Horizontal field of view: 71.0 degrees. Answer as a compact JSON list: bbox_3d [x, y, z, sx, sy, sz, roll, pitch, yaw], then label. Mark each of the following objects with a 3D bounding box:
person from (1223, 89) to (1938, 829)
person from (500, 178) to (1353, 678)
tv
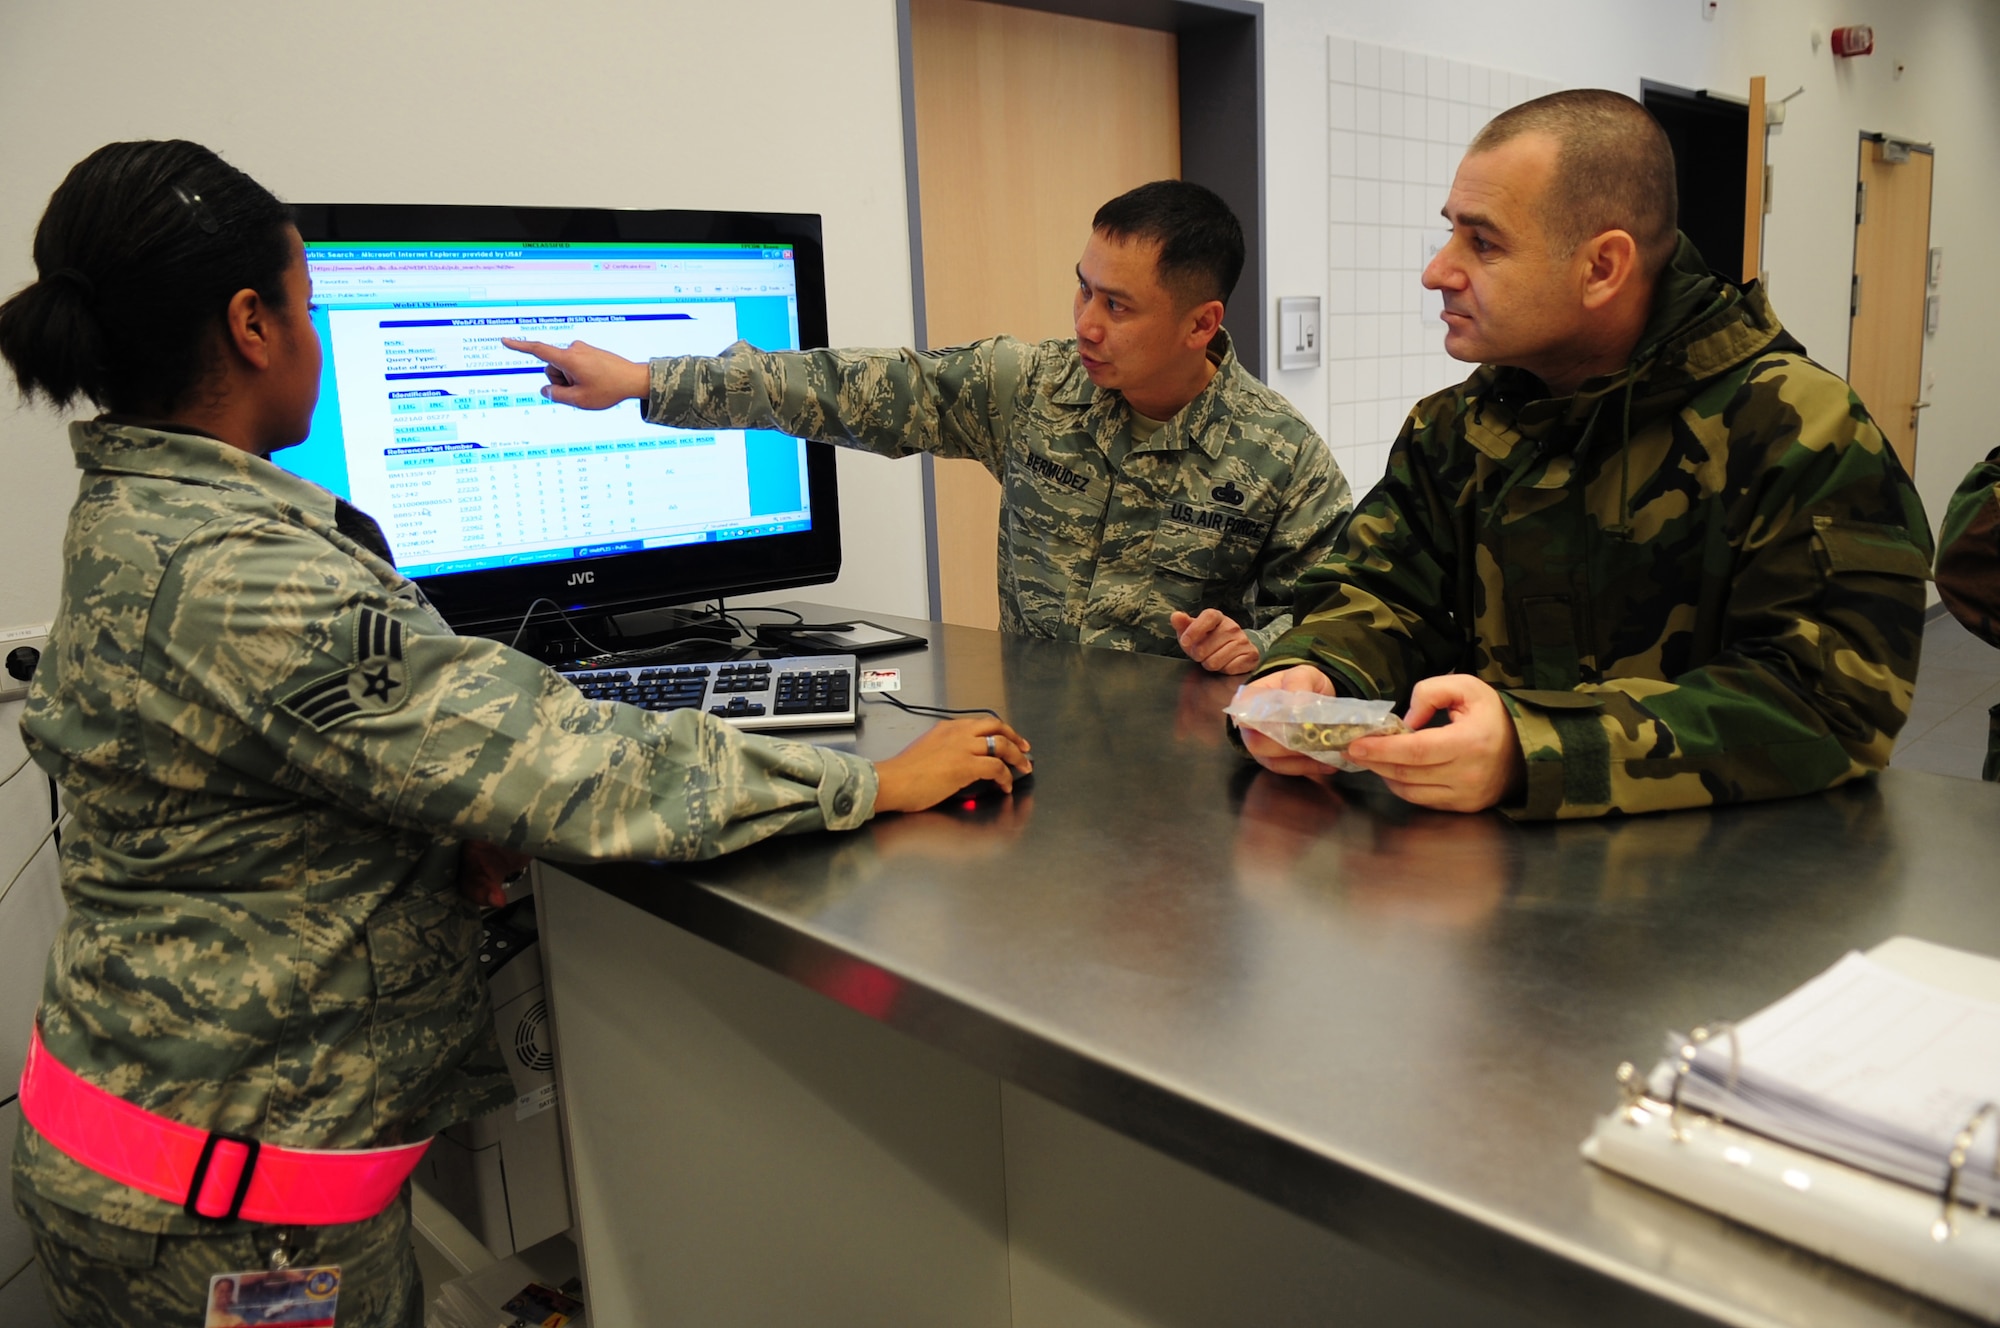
[{"bbox_3d":[0.721,-0.270,1.781,0.763,0.818,0.870,-8,11,-17],"label":"person"},{"bbox_3d":[-0.170,-0.395,2.429,0.753,0.938,0.534,22,37,20],"label":"person"},{"bbox_3d":[-0.663,-0.349,2.040,0.679,0.487,0.175,-9,15,-37],"label":"tv"}]
